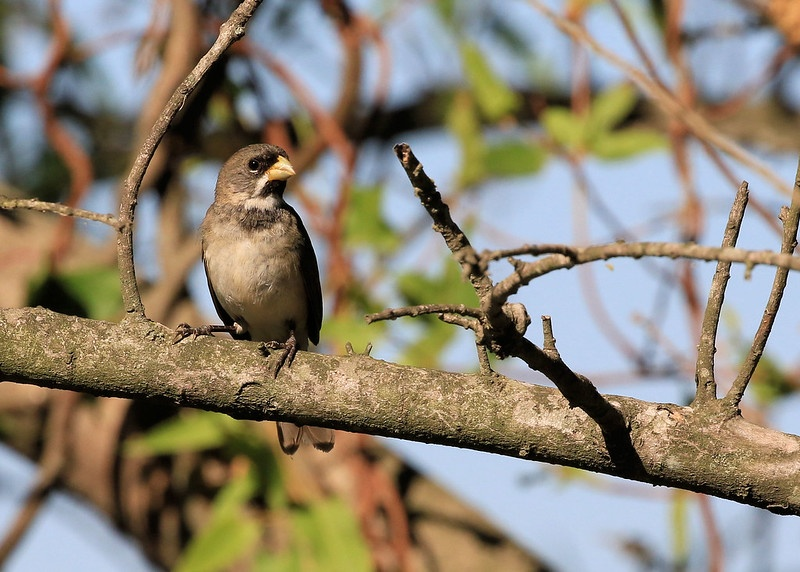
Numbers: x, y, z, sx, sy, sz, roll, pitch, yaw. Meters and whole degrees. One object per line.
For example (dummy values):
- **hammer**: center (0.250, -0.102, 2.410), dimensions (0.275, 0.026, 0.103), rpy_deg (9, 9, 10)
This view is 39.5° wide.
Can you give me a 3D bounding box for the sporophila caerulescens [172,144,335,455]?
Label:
- **sporophila caerulescens**: center (-0.869, -0.120, 7.012), dimensions (0.708, 1.154, 0.978), rpy_deg (-9, 39, -14)
